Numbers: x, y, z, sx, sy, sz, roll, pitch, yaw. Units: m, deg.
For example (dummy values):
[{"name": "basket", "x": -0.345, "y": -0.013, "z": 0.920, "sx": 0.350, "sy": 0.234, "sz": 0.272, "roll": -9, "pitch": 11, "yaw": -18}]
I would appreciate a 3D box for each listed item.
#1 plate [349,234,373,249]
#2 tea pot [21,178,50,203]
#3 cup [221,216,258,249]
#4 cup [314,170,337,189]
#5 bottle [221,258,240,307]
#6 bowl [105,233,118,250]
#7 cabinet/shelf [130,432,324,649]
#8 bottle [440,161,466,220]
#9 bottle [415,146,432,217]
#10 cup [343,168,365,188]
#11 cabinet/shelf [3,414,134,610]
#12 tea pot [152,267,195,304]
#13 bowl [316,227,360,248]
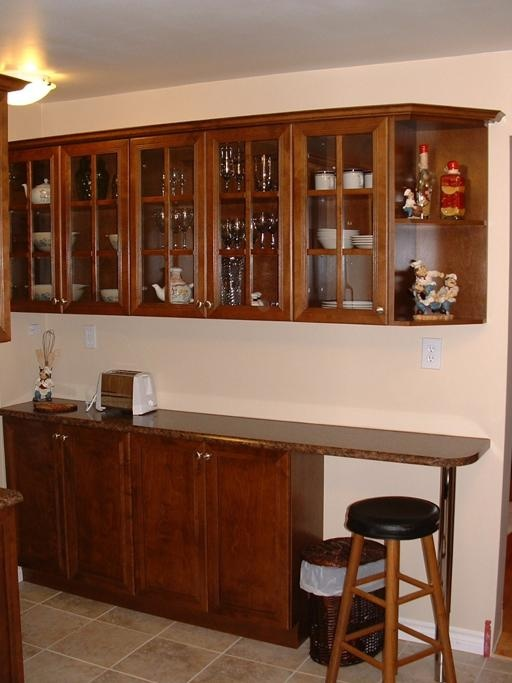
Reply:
[{"name": "plate", "x": 0.395, "y": -0.371, "z": 2.238, "sx": 0.089, "sy": 0.062, "sz": 0.008, "roll": 0, "pitch": 1, "yaw": 39}, {"name": "tea pot", "x": -1.054, "y": -0.730, "z": 2.904, "sx": 0.135, "sy": 0.104, "sz": 0.093, "roll": 11, "pitch": 11, "yaw": 29}, {"name": "cup", "x": -0.085, "y": -0.435, "z": 2.498, "sx": 0.129, "sy": 0.149, "sz": 0.130, "roll": 1, "pitch": -2, "yaw": 0}, {"name": "cup", "x": 0.261, "y": -0.615, "z": 2.291, "sx": 0.059, "sy": 0.056, "sz": 0.074, "roll": -5, "pitch": 12, "yaw": -34}, {"name": "bottle", "x": -0.102, "y": -0.252, "z": 2.507, "sx": 0.103, "sy": 0.193, "sz": 0.016, "roll": 0, "pitch": 1, "yaw": 33}, {"name": "bowl", "x": -0.658, "y": -0.461, "z": 2.783, "sx": 0.065, "sy": 0.052, "sz": 0.073, "roll": 0, "pitch": 1, "yaw": 4}, {"name": "cabinet/shelf", "x": -0.097, "y": 0.797, "z": 2.446, "sx": 0.824, "sy": 0.793, "sz": 0.297, "roll": 2, "pitch": 4, "yaw": 24}, {"name": "bottle", "x": 0.737, "y": -0.563, "z": 2.262, "sx": 0.089, "sy": 0.204, "sz": 0.078, "roll": 0, "pitch": 1, "yaw": 9}, {"name": "bottle", "x": 0.631, "y": -0.602, "z": 2.292, "sx": 0.053, "sy": 0.269, "sz": 0.077, "roll": 0, "pitch": 1, "yaw": 12}, {"name": "cup", "x": 0.360, "y": -0.605, "z": 2.238, "sx": 0.074, "sy": 0.067, "sz": 0.062, "roll": 5, "pitch": 9, "yaw": 28}, {"name": "cabinet/shelf", "x": -0.827, "y": 0.763, "z": 2.741, "sx": 0.858, "sy": 0.815, "sz": 0.360, "roll": 2, "pitch": 3, "yaw": 25}, {"name": "tea pot", "x": -0.346, "y": -0.234, "z": 2.638, "sx": 0.182, "sy": 0.154, "sz": 0.119, "roll": 5, "pitch": 6, "yaw": 13}, {"name": "bowl", "x": 0.305, "y": -0.396, "z": 2.291, "sx": 0.096, "sy": 0.048, "sz": 0.097, "roll": 0, "pitch": 0, "yaw": 0}]
